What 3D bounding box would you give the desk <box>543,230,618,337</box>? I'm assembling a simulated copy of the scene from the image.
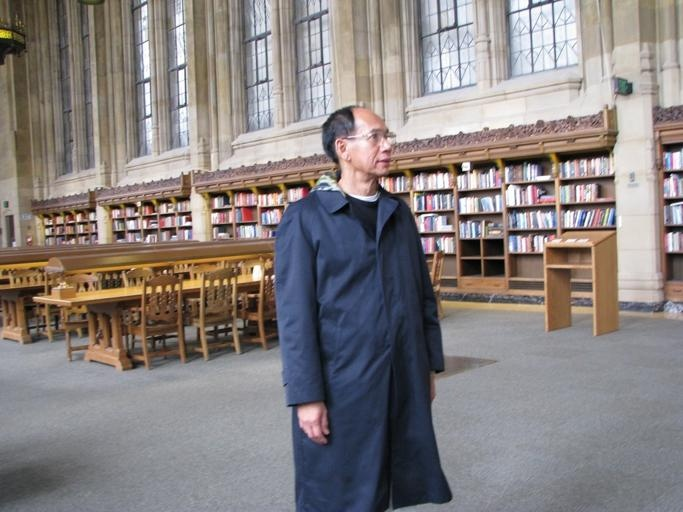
[{"bbox_3d":[3.255,0.347,7.828,0.925,1.371,0.780,1,7,32],"label":"desk"}]
